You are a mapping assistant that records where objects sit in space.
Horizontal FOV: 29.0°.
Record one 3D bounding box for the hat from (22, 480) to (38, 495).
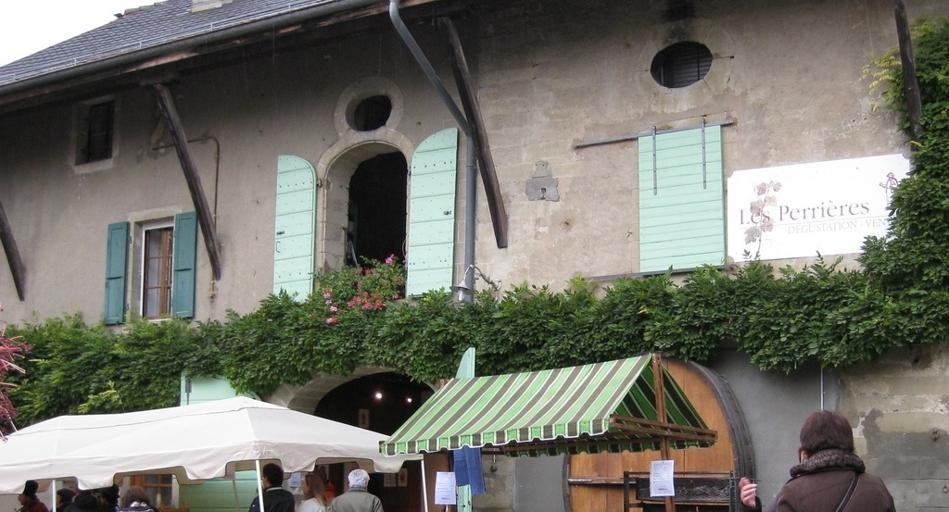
[{"bbox_3d":[-7.728,3.971,31.797,0.267,0.249,0.555,1,-12,-14],"label":"hat"}]
